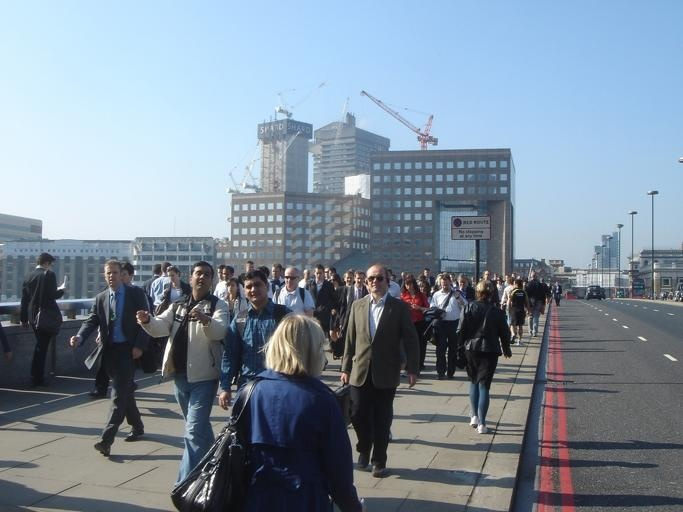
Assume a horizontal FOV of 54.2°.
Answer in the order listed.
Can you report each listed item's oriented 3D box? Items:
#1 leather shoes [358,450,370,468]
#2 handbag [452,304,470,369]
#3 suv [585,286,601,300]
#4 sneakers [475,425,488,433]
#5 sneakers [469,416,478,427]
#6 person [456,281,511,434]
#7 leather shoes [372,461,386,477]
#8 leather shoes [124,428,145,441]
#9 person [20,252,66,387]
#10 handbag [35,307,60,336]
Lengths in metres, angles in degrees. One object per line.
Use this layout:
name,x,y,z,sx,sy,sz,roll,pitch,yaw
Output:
leather shoes,0.275,2.515,8.231,0.082,0.272,0.188,-3,40,7
handbag,1.894,1.223,10.210,0.125,0.976,0.218,-8,-12,35
suv,29.903,4.291,79.193,1.191,1.131,2.154,-1,-8,16
sneakers,2.035,2.478,9.663,0.163,0.124,0.249,1,0,11
sneakers,1.974,2.460,9.930,0.114,0.151,0.277,1,0,10
person,2.181,1.457,10.060,0.685,2.134,0.847,1,0,-20
leather shoes,0.462,2.538,7.961,0.175,0.165,0.158,1,0,-2
leather shoes,-2.827,2.424,9.080,0.295,0.230,0.107,4,-3,0
person,-5.453,1.134,12.168,0.732,2.558,0.497,1,0,-11
handbag,-5.319,1.180,12.021,0.405,0.480,0.170,8,-22,-40
